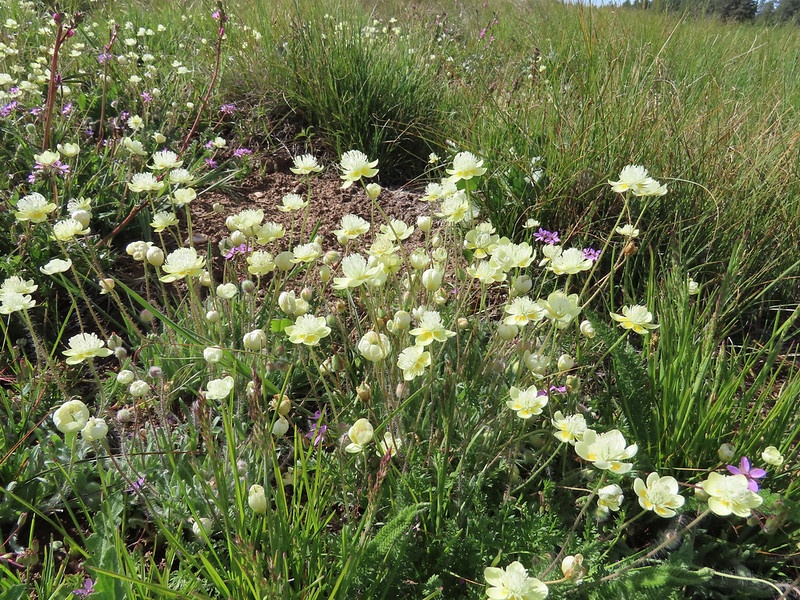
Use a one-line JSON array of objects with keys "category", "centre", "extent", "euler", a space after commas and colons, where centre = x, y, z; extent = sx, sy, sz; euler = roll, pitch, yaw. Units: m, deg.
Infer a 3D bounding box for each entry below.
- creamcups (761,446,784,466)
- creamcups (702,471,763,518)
[{"category": "creamcups", "centre": [1.381, 0.572, 2.517], "extent": [0.071, 0.047, 0.073], "euler": [10, 31, 8]}, {"category": "creamcups", "centre": [1.057, 0.618, 2.167], "extent": [0.157, 0.119, 0.130], "euler": [-4, 41, -3]}]
